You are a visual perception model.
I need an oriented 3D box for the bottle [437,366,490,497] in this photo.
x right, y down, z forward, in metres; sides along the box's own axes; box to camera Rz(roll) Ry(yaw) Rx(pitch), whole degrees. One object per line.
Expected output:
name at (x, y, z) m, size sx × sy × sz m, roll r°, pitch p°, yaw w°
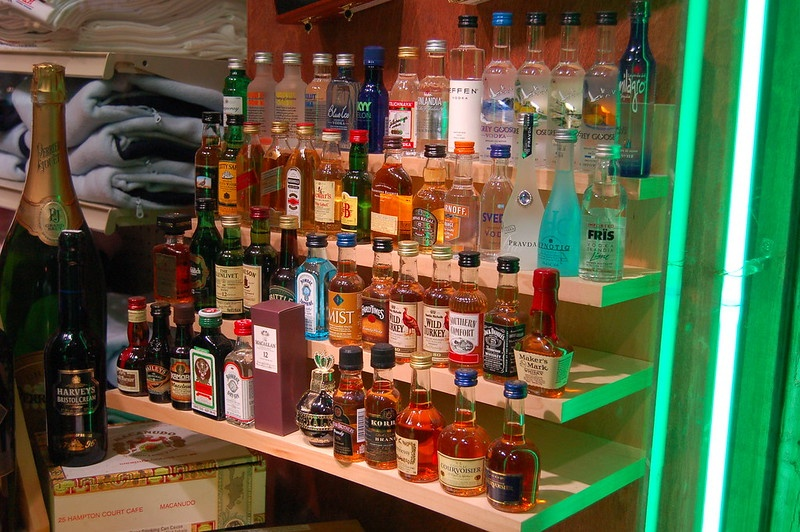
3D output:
bottle at (0.130, 0.339, 1.368) m, size 0.109 × 0.253 × 0.107 m, roll 2°, pitch 6°, yaw 0°

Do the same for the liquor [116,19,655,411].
liquor at (-0.016, -0.104, 1.557) m, size 1.063 × 0.507 × 0.554 m, roll 7°, pitch 12°, yaw 43°

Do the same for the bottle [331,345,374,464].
bottle at (-0.108, 0.308, 1.487) m, size 0.107 × 0.240 × 0.106 m, roll -2°, pitch -2°, yaw 0°

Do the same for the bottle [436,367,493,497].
bottle at (0.132, 0.337, 1.366) m, size 0.108 × 0.250 × 0.106 m, roll 1°, pitch 8°, yaw 0°

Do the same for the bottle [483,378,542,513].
bottle at (0.223, 0.368, 1.297) m, size 0.103 × 0.227 × 0.051 m, roll 0°, pitch 7°, yaw 0°

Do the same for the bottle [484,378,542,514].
bottle at (0.223, 0.368, 1.297) m, size 0.103 × 0.227 × 0.051 m, roll 0°, pitch 7°, yaw 0°

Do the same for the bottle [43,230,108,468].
bottle at (-0.795, 0.205, 1.626) m, size 0.137 × 0.589 × 0.128 m, roll 0°, pitch 7°, yaw 0°

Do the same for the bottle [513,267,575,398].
bottle at (0.299, 0.127, 1.367) m, size 0.107 × 0.257 × 0.137 m, roll 3°, pitch 7°, yaw 26°

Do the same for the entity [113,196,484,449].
entity at (-0.200, 0.155, 1.491) m, size 0.395 × 0.648 × 0.738 m, roll -7°, pitch 11°, yaw -43°

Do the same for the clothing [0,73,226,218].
clothing at (-0.848, -0.356, 1.999) m, size 0.581 × 0.191 × 0.448 m, roll -3°, pitch 8°, yaw -33°
